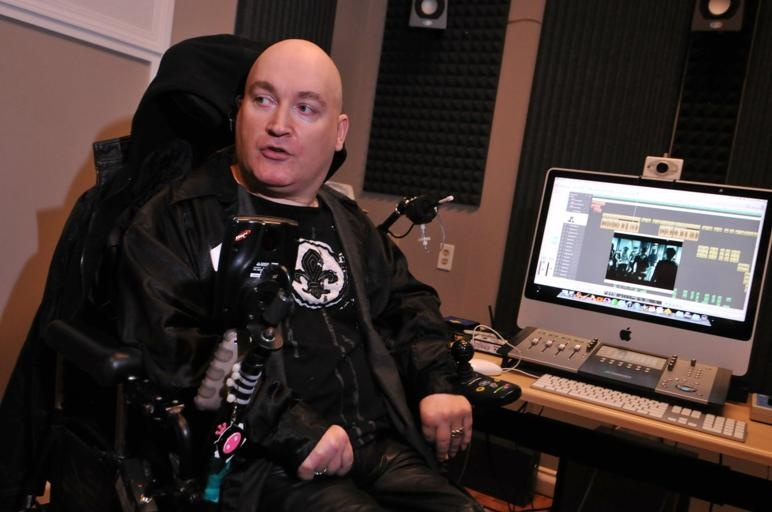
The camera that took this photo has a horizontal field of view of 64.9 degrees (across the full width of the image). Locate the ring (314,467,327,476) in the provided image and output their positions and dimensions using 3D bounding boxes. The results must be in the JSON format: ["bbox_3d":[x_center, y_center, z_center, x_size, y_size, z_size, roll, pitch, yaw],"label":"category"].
[{"bbox_3d":[-0.202,0.667,1.859,0.038,0.018,0.050,-2,-11,-26],"label":"ring"}]

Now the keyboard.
[{"bbox_3d":[0.907,0.552,2.222,0.732,0.112,0.131,5,0,18],"label":"keyboard"}]
